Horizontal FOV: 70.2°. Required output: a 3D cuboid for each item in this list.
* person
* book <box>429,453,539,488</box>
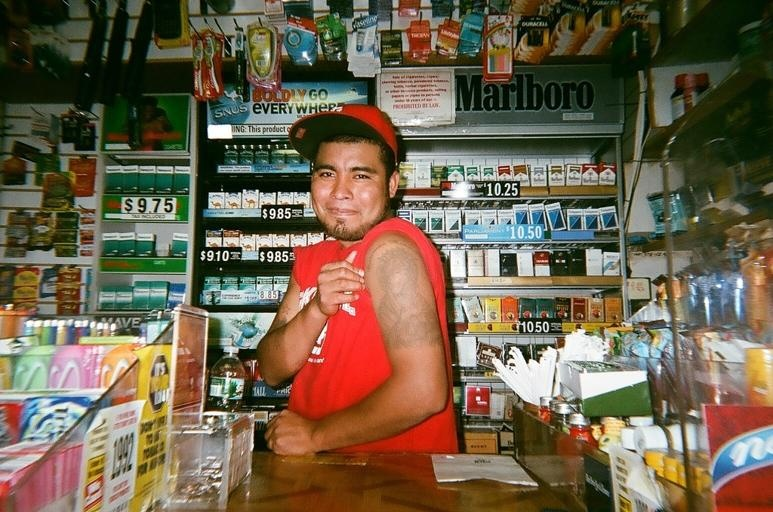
[{"bbox_3d":[-0.145,0.056,2.262,0.729,1.359,0.940,-1,9,-23],"label":"person"},{"bbox_3d":[0.336,0.756,1.959,0.351,0.045,0.245,2,9,-1],"label":"book"}]
